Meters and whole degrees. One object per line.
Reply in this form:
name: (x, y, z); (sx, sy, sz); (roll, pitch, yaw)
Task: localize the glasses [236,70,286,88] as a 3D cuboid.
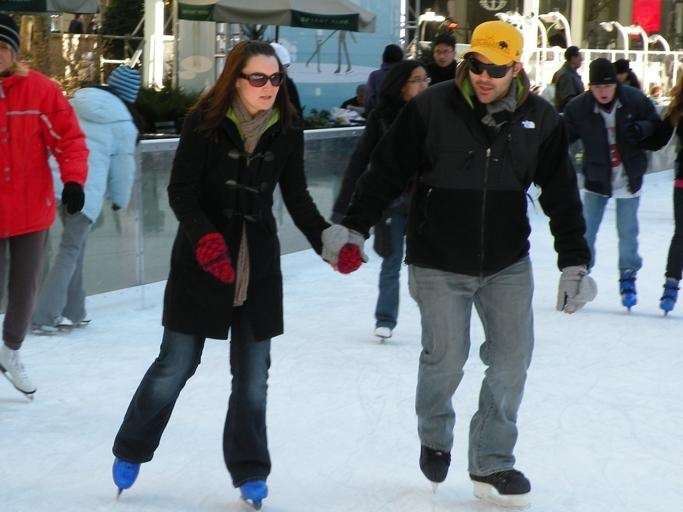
glasses: (-0.338, -0.743, 2.931); (0.188, 0.067, 0.080); (-1, 12, -10)

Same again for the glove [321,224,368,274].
glove: (0.004, -0.031, 3.162); (0.177, 0.225, 0.101); (-17, 16, -7)

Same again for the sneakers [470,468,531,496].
sneakers: (0.717, 0.997, 3.109); (0.292, 0.129, 0.105); (-8, -8, 32)

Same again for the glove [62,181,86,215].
glove: (-1.583, -0.342, 4.089); (0.135, 0.177, 0.064); (0, 12, -19)

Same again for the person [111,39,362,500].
person: (-0.486, 0.097, 3.033); (0.995, 2.036, 0.546); (-7, 14, -35)

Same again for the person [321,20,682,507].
person: (0.587, 0.026, 3.159); (1.092, 2.123, 0.526); (5, 12, 19)

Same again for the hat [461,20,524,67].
hat: (0.686, -0.948, 3.093); (0.245, 0.171, 0.338); (23, 22, 28)

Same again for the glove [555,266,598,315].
glove: (1.075, 0.152, 3.157); (0.180, 0.220, 0.105); (9, 44, 6)

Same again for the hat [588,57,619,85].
hat: (2.310, -1.603, 6.128); (0.222, 0.196, 0.253); (0, -1, 4)
